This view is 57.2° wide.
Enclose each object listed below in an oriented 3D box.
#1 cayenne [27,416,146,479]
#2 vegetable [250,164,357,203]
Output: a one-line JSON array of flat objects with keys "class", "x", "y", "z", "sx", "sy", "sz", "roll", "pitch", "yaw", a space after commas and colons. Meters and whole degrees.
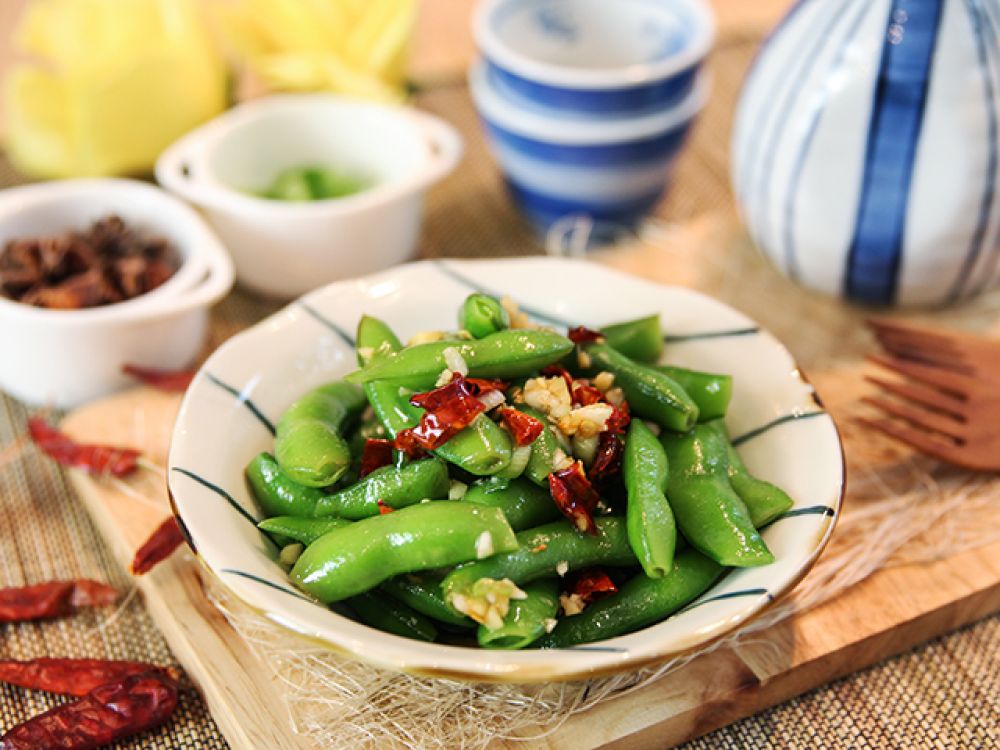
[{"class": "cayenne", "x": -0.668, "y": 0.125, "z": 1.484, "sx": 0.177, "sy": 0.039, "sz": 0.085, "roll": 21, "pitch": 70, "yaw": 22}, {"class": "vegetable", "x": -0.384, "y": -0.390, "z": 1.868, "sx": 0.134, "sy": 0.033, "sz": 0.133, "roll": 3, "pitch": 32, "yaw": 4}]
